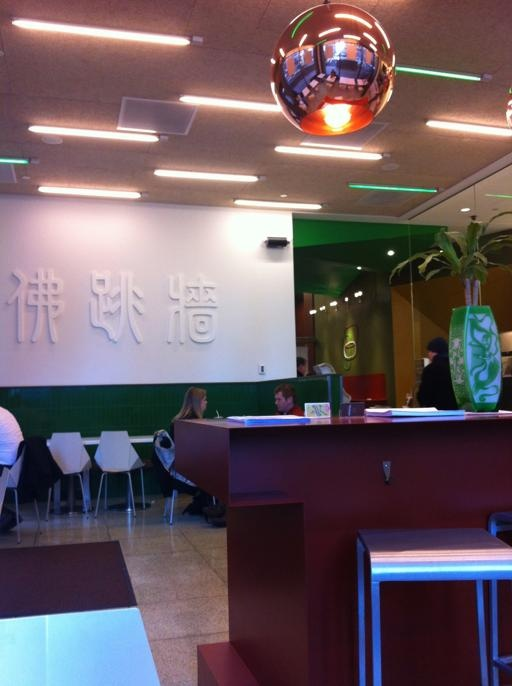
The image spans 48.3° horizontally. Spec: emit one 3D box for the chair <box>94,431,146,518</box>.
[{"bbox_3d":[-1.443,1.352,6.049,0.472,0.892,0.518,0,-4,-7],"label":"chair"}]

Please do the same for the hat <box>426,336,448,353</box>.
[{"bbox_3d":[1.151,0.012,3.621,0.085,0.111,0.122,-1,-10,8],"label":"hat"}]

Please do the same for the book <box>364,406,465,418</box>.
[{"bbox_3d":[0.494,0.227,1.836,0.324,0.037,0.248,-4,-6,23],"label":"book"}]

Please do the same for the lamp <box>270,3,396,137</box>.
[{"bbox_3d":[0.235,-0.863,1.795,0.363,0.292,0.346,-6,-7,40],"label":"lamp"}]

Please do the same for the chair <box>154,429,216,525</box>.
[{"bbox_3d":[-0.734,1.306,5.639,0.411,0.690,0.480,0,-30,-29],"label":"chair"}]
